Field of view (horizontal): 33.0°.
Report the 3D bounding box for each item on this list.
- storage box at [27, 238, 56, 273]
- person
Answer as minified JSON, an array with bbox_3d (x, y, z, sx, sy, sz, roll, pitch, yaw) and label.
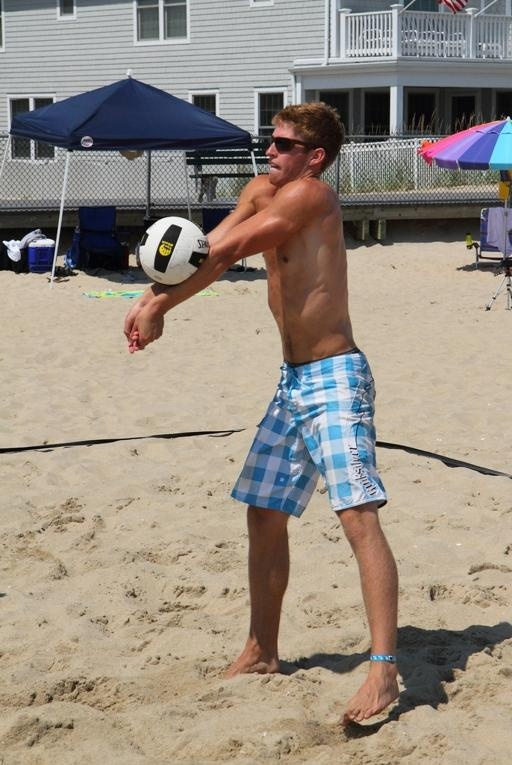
[{"bbox_3d":[-3.536,-2.021,14.239,0.469,0.555,0.804,0,5,-10],"label":"storage box"},{"bbox_3d":[0.195,-0.011,2.770,1.022,1.676,0.721,2,6,28],"label":"person"}]
